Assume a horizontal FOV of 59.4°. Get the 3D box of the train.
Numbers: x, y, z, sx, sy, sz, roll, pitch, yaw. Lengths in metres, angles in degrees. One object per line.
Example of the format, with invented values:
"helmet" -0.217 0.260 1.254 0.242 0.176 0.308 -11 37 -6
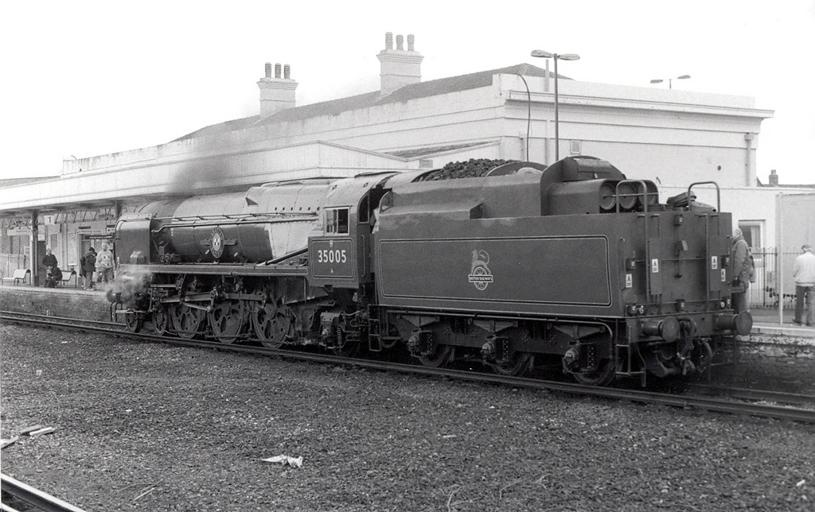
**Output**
"train" -2.797 0.472 21.444 21.676 5.806 5.998 3 1 39
